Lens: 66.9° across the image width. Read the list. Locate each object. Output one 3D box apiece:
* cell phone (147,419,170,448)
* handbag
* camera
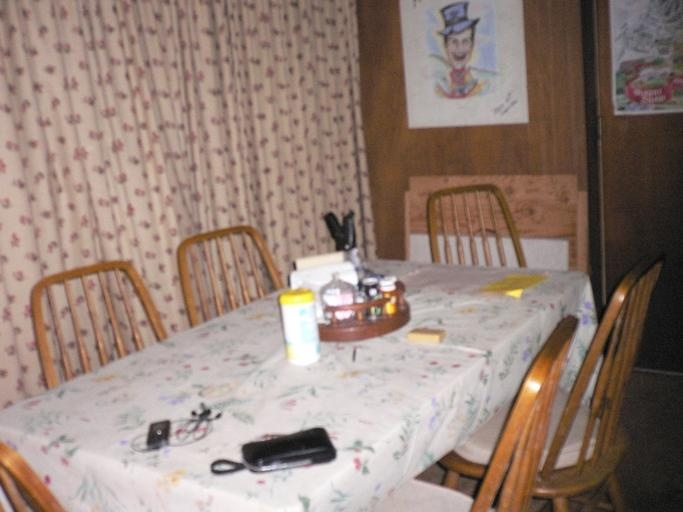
[{"bbox_3d":[-0.439,0.427,1.235,0.056,0.020,0.098,-10,10,-16],"label":"cell phone"},{"bbox_3d":[-0.147,0.428,1.123,0.224,0.040,0.102,-2,14,-18],"label":"handbag"},{"bbox_3d":[-0.115,0.423,1.134,0.155,0.042,0.085,-4,15,-10],"label":"camera"}]
